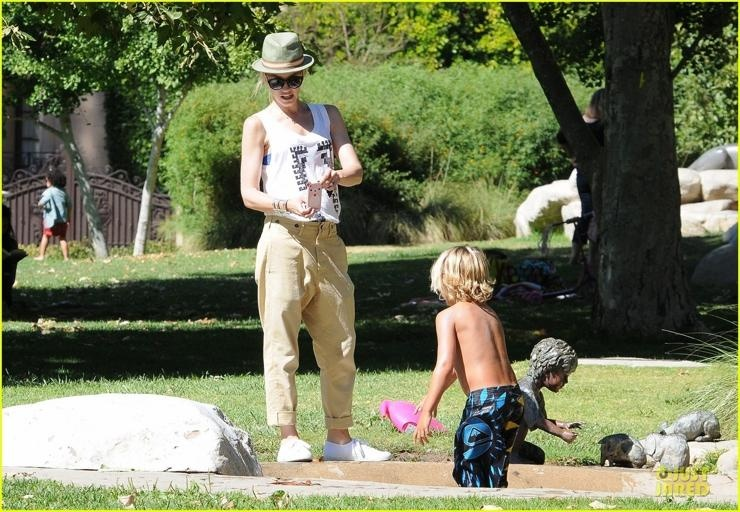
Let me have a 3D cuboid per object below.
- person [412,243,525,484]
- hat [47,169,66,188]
[{"bbox_3d":[1.402,1.593,21.908,1.356,3.359,0.626,-2,5,5],"label":"person"},{"bbox_3d":[-7.044,-1.693,35.464,0.372,0.454,0.456,-3,12,-45],"label":"hat"}]
